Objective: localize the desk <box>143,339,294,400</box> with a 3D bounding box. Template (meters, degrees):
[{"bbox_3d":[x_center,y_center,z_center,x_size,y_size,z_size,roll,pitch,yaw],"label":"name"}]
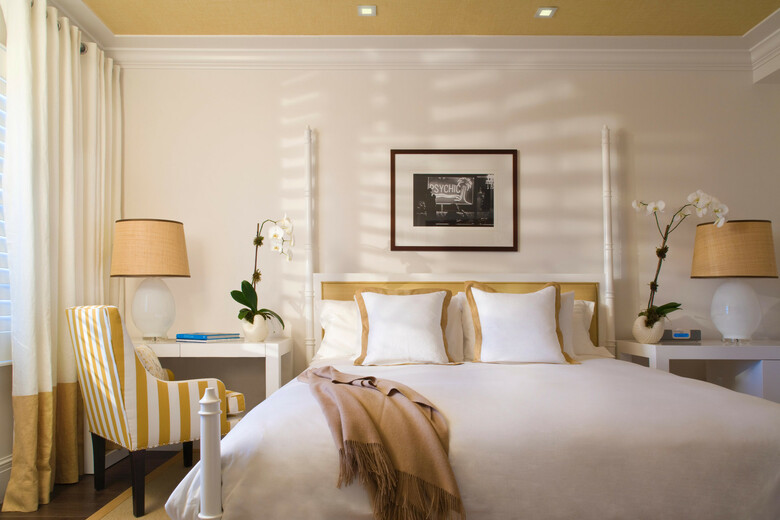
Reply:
[{"bbox_3d":[-1.237,0.979,4.452,0.973,0.620,0.537,-1,-5,-3],"label":"desk"}]

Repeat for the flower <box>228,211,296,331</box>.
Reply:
[{"bbox_3d":[-1.059,0.114,4.625,0.495,0.769,0.397,-2,1,-11],"label":"flower"}]

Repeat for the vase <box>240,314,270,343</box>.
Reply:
[{"bbox_3d":[-1.078,0.559,4.438,0.229,0.219,0.171,0,1,-25],"label":"vase"}]

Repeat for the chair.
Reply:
[{"bbox_3d":[-1.852,0.931,4.574,1.463,1.829,1.269,1,-4,-41],"label":"chair"}]

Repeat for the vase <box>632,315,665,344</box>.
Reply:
[{"bbox_3d":[2.080,0.575,4.483,0.220,0.212,0.222,4,0,20],"label":"vase"}]

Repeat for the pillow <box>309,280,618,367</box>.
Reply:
[{"bbox_3d":[0.552,0.440,4.374,2.399,0.673,0.721,-1,0,0],"label":"pillow"}]

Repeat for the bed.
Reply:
[{"bbox_3d":[0.445,0.398,3.916,2.829,1.927,0.856,0,-7,-2],"label":"bed"}]

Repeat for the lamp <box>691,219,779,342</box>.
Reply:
[{"bbox_3d":[2.753,0.166,4.446,0.573,0.970,0.220,-1,1,7],"label":"lamp"}]

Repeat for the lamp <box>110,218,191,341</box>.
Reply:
[{"bbox_3d":[-2.092,0.178,4.849,0.850,1.230,0.843,0,-3,-28],"label":"lamp"}]

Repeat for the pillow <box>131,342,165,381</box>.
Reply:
[{"bbox_3d":[-1.716,0.719,3.909,0.076,0.254,0.256,-26,-14,-3],"label":"pillow"}]
